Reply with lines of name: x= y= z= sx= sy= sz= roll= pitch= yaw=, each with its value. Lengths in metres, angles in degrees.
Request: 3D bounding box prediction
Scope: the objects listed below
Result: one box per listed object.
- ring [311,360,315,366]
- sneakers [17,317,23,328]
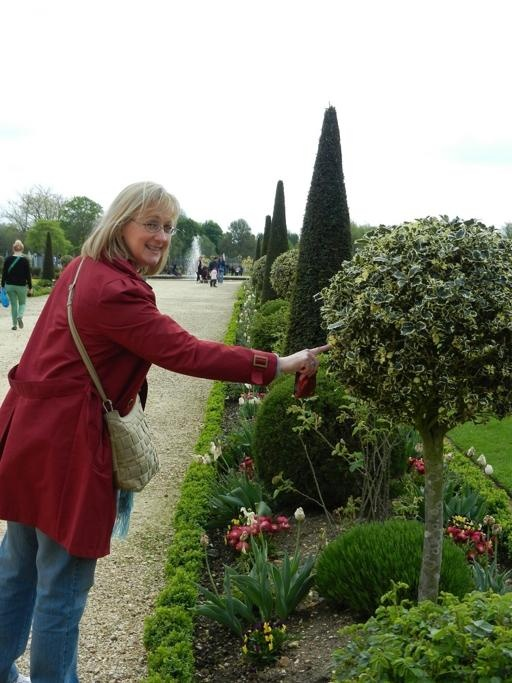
ring: x=0.219 y=0.081 z=2.229 sx=0.015 sy=0.018 sz=0.007 roll=-1 pitch=-15 yaw=-3
sneakers: x=-5.117 y=-0.402 z=12.672 sx=0.151 sy=0.267 sz=0.125 roll=0 pitch=7 yaw=-16
